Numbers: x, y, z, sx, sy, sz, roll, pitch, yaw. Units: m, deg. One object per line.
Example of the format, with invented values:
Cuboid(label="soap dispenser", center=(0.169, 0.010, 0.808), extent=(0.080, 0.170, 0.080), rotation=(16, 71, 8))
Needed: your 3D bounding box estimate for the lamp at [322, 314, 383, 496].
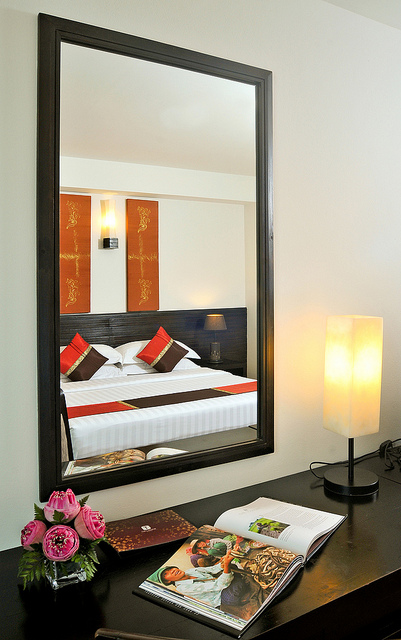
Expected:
Cuboid(label="lamp", center=(0.450, 0.245, 1.434), extent=(0.161, 0.506, 0.157), rotation=(0, 1, -22))

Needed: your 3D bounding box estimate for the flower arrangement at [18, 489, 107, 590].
Cuboid(label="flower arrangement", center=(-0.262, 0.413, 0.947), extent=(0.174, 0.144, 0.185), rotation=(10, 10, -8))

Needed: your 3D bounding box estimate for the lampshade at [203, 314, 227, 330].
Cuboid(label="lampshade", center=(0.037, 0.007, 1.278), extent=(0.042, 0.028, 0.043), rotation=(7, 15, 31))
